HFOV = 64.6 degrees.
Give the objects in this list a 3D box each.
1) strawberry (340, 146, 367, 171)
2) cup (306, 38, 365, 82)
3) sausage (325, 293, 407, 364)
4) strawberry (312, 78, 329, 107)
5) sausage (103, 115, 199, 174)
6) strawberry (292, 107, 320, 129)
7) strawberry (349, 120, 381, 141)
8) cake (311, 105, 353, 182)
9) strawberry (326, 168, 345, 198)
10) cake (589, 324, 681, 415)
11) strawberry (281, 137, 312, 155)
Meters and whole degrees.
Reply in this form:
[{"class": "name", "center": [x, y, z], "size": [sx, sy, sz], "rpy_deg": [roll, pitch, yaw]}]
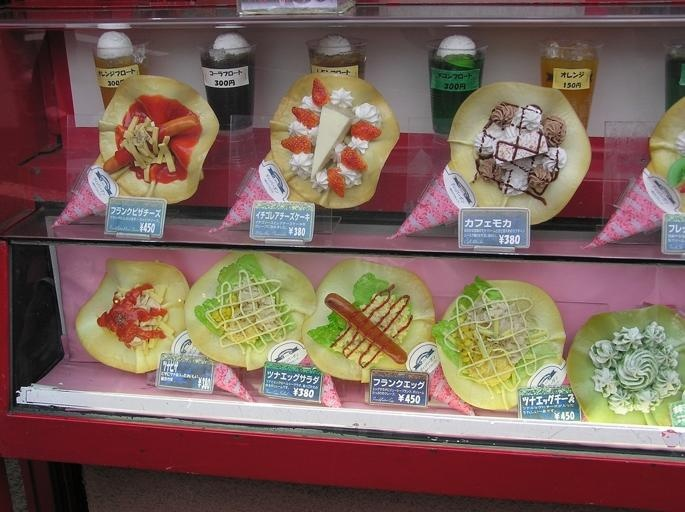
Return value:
[{"class": "strawberry", "center": [0.025, -0.244, 1.384], "size": [0.049, 0.066, 0.022], "rpy_deg": [-48, 8, -16]}, {"class": "cup", "center": [-0.018, -0.527, 1.428], "size": [0.118, 0.104, 0.120], "rpy_deg": [0, 22, 0]}, {"class": "sausage", "center": [0.068, 0.201, 1.472], "size": [0.049, 0.220, 0.039], "rpy_deg": [-44, -5, -8]}, {"class": "strawberry", "center": [-0.056, -0.422, 1.400], "size": [0.048, 0.066, 0.015], "rpy_deg": [-10, 6, 27]}, {"class": "sausage", "center": [-0.540, -0.304, 1.530], "size": [0.218, 0.158, 0.083], "rpy_deg": [-32, 7, -10]}, {"class": "strawberry", "center": [-0.096, -0.358, 1.405], "size": [0.071, 0.044, 0.019], "rpy_deg": [36, 2, 5]}, {"class": "strawberry", "center": [0.055, -0.319, 1.387], "size": [0.068, 0.029, 0.045], "rpy_deg": [18, 32, 34]}, {"class": "cake", "center": [-0.035, -0.296, 1.456], "size": [0.097, 0.179, 0.084], "rpy_deg": [16, 1, 20]}, {"class": "strawberry", "center": [-0.019, -0.190, 1.389], "size": [0.046, 0.066, 0.019], "rpy_deg": [-17, 12, -16]}, {"class": "cake", "center": [0.743, 0.291, 1.376], "size": [0.213, 0.222, 0.061], "rpy_deg": [-11, -4, 10]}, {"class": "strawberry", "center": [-0.122, -0.285, 1.401], "size": [0.064, 0.043, 0.027], "rpy_deg": [10, 0, 22]}]
